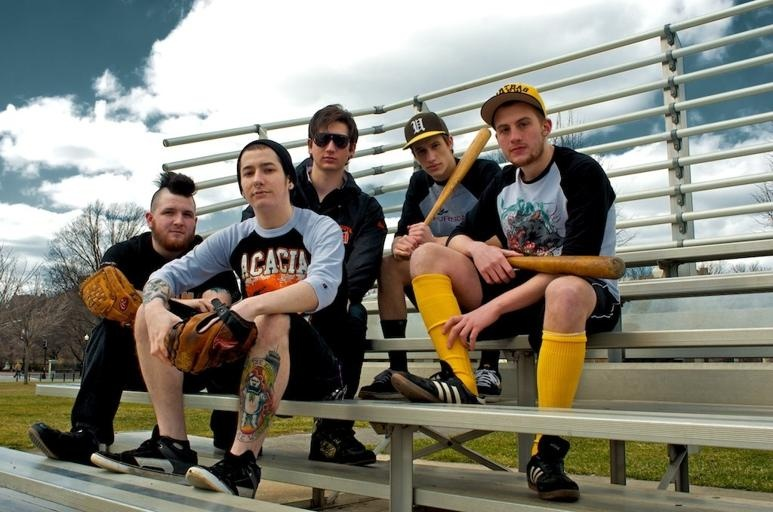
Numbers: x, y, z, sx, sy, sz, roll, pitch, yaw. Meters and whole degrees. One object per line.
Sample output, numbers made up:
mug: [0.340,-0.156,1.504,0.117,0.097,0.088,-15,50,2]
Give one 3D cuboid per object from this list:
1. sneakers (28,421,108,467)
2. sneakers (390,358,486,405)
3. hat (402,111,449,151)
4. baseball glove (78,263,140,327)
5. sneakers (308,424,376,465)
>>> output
sneakers: [-1.806,1.090,3.339,0.399,0.176,0.133,33,-4,-37]
sneakers: [0.241,0.697,3.084,0.557,0.240,0.181,13,-28,-12]
hat: [0.287,-0.948,4.427,0.241,0.178,0.333,-17,8,30]
baseball glove: [-1.600,0.241,3.589,0.405,0.298,0.169,37,18,-21]
sneakers: [-0.289,1.201,3.752,0.386,0.180,0.238,-6,-12,31]
